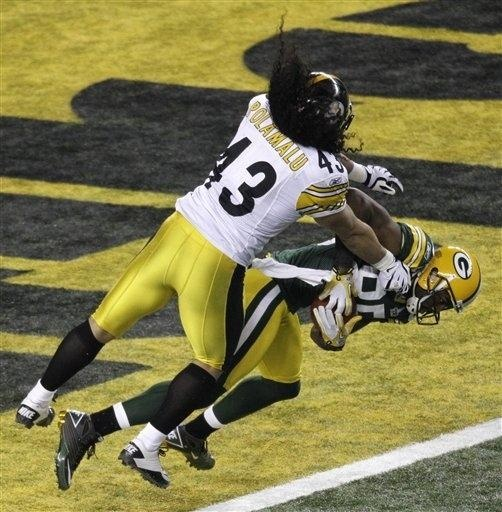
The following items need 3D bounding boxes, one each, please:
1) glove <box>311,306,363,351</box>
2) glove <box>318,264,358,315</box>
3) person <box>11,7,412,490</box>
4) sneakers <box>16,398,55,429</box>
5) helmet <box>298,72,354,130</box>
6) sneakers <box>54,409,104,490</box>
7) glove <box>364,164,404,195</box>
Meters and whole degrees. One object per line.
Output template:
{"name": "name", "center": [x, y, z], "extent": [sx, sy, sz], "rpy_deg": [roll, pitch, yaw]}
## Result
{"name": "glove", "center": [0.403, 0.348, 4.106], "extent": [0.250, 0.245, 0.132], "rpy_deg": [23, 50, 6]}
{"name": "glove", "center": [0.418, 0.158, 4.034], "extent": [0.227, 0.197, 0.090], "rpy_deg": [-2, -9, -7]}
{"name": "person", "center": [-0.151, 0.085, 3.779], "extent": [1.420, 1.928, 0.599], "rpy_deg": [-4, 21, -32]}
{"name": "sneakers", "center": [-0.969, 0.715, 3.884], "extent": [0.217, 0.104, 0.077], "rpy_deg": [9, 30, -45]}
{"name": "helmet", "center": [0.338, -0.663, 3.649], "extent": [0.218, 0.236, 0.199], "rpy_deg": [7, 15, 4]}
{"name": "sneakers", "center": [-0.759, 0.866, 3.901], "extent": [0.292, 0.351, 0.152], "rpy_deg": [4, -9, 6]}
{"name": "glove", "center": [0.663, -0.365, 4.281], "extent": [0.263, 0.101, 0.082], "rpy_deg": [20, -27, -23]}
